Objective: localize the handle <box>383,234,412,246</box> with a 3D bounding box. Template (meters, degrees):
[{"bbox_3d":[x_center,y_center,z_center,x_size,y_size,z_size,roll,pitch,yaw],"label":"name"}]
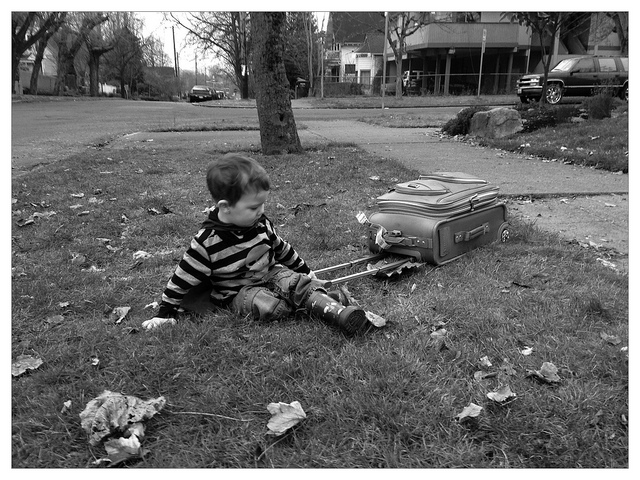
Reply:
[{"bbox_3d":[0.640,0.017,4.229,0.246,0.088,0.031,5,16,24],"label":"handle"}]

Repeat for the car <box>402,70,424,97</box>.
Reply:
[{"bbox_3d":[7.273,-12.277,40.212,1.547,1.775,6.116,0,16,9],"label":"car"}]

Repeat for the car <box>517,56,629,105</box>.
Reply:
[{"bbox_3d":[8.271,-5.223,16.889,3.298,1.469,4.986,7,19,30],"label":"car"}]

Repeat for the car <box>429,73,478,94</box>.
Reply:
[{"bbox_3d":[9.505,-11.102,36.684,2.401,1.362,4.875,-4,16,-7],"label":"car"}]

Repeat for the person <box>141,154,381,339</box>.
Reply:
[{"bbox_3d":[-0.343,0.159,3.427,1.269,1.020,1.202,21,31,36],"label":"person"}]

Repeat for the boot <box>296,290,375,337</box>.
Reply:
[{"bbox_3d":[0.096,0.476,3.373,0.506,0.211,0.194,17,35,40],"label":"boot"}]

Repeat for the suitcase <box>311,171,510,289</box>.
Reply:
[{"bbox_3d":[0.951,-0.182,4.411,1.474,0.629,0.620,-11,17,-28],"label":"suitcase"}]

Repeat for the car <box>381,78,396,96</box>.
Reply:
[{"bbox_3d":[5.781,-12.526,42.066,0.852,1.285,5.492,0,16,7],"label":"car"}]
